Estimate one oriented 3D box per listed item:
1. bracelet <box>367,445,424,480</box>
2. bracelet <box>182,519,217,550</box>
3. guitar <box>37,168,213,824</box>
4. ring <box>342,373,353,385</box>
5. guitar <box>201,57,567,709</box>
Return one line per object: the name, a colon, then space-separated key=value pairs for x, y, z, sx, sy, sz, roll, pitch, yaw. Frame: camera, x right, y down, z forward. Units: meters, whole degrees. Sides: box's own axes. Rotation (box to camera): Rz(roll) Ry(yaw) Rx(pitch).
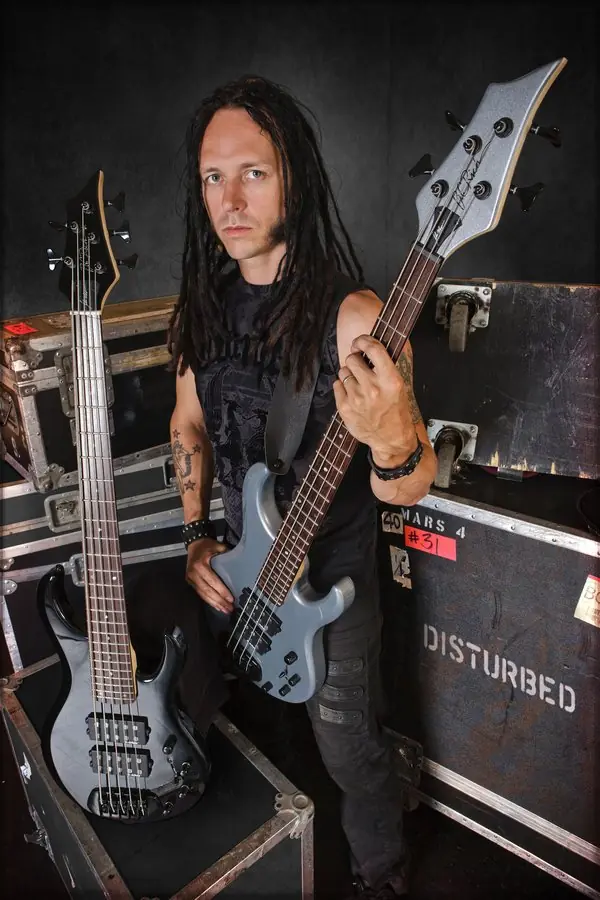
bracelet: x=0.176 y=0.022 z=1.369 sx=0.097 sy=0.064 sz=0.057 roll=-3 pitch=11 yaw=5
bracelet: x=-0.253 y=0.207 z=1.865 sx=0.082 sy=0.053 sz=0.083 roll=5 pitch=-18 yaw=-28
guitar: x=-0.371 y=0.117 z=1.394 sx=0.310 sy=1.225 sz=0.173 roll=-4 pitch=11 yaw=-1
ring: x=0.078 y=-0.122 z=1.246 sx=0.017 sy=0.015 sz=0.029 roll=-4 pitch=11 yaw=0
guitar: x=0.201 y=0.052 z=1.614 sx=0.480 sy=1.617 sz=0.190 roll=37 pitch=25 yaw=33
